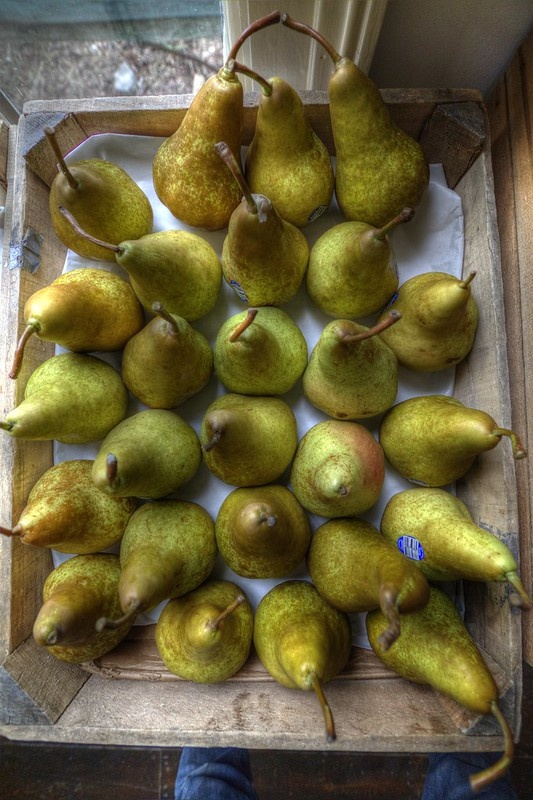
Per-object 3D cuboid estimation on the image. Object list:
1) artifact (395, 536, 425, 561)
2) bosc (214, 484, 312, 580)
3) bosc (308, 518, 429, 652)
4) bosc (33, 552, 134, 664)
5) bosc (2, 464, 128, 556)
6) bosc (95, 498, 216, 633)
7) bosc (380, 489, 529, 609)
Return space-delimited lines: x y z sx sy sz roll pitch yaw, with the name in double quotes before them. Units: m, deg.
"artifact" 0.168 0.172 0.901 0.007 0.029 0.026 -17 97 -37
"bosc" -0.001 0.149 0.876 0.094 0.132 0.082 23 85 4
"bosc" 0.112 0.202 0.848 0.093 0.225 0.099 -15 107 -2
"bosc" -0.206 0.237 0.873 0.100 0.163 0.067 6 85 -11
"bosc" -0.231 0.127 0.893 0.069 0.128 0.052 3 101 25
"bosc" -0.126 0.185 0.871 0.071 0.163 0.075 39 111 -8
"bosc" 0.231 0.154 0.904 0.091 0.163 0.084 -41 127 -21
